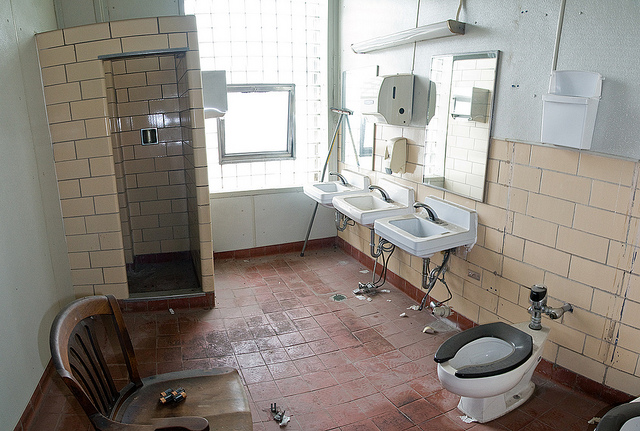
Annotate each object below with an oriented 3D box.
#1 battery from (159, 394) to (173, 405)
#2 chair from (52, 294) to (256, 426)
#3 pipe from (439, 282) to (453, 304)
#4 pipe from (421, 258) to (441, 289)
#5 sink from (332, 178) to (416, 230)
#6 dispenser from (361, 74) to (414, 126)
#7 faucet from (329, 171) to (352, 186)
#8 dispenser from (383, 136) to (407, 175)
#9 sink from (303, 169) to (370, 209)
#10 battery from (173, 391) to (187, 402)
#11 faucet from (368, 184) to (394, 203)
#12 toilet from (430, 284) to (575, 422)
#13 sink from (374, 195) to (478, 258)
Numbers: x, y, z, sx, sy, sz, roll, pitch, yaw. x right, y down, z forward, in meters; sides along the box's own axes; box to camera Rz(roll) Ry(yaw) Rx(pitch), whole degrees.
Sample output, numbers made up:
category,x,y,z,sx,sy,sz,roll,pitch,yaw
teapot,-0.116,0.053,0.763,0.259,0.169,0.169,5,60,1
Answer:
category,x,y,z,sx,sy,sz,roll,pitch,yaw
battery,-0.912,1.086,2.654,0.062,0.035,0.024,-26,-6,-17
chair,-0.948,0.835,2.555,0.890,0.727,0.617,-5,20,-5
pipe,1.205,0.758,4.285,0.041,0.225,0.130,-13,22,-24
pipe,1.037,0.528,4.171,0.159,0.408,0.276,2,21,14
sink,0.591,-0.136,4.646,0.614,0.386,0.668,-11,24,-24
dispenser,0.661,-1.142,4.446,0.321,0.484,0.560,-5,16,-28
faucet,0.235,-0.458,5.538,0.109,0.138,0.389,-5,17,-24
dispenser,0.774,-0.595,4.593,0.212,0.392,0.193,-8,21,-11
sink,0.175,-0.337,5.310,0.557,0.314,0.577,-9,20,-25
battery,-0.835,1.081,2.674,0.078,0.030,0.031,-16,24,-33
faucet,0.646,-0.225,4.730,0.276,0.093,0.127,17,-1,-44
toilet,1.437,1.073,3.416,1.036,0.803,0.492,-17,30,-20
sink,0.945,0.102,4.046,0.691,0.383,0.659,-13,21,-25
